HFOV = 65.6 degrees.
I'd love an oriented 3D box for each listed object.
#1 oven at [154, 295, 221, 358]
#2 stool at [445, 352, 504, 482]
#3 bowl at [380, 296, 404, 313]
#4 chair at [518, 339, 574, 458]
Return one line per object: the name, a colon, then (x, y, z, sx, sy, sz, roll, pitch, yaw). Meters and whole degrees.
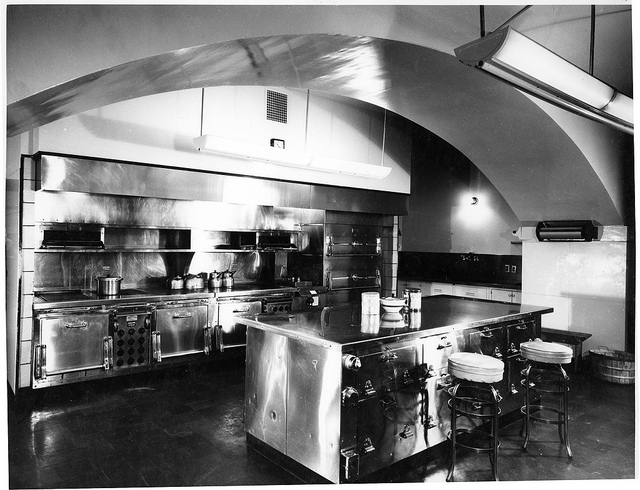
oven: (-1.789, 1.029, 6.348, 0.773, 0.810, 0.574, -1, 3, -27)
stool: (1.375, 1.441, 4.446, 0.476, 0.985, 1.001, 4, 7, 20)
bowl: (0.681, 0.582, 4.741, 0.224, 0.163, 0.241, 1, 7, 0)
chair: (2.179, 1.447, 4.837, 0.628, 0.924, 0.631, 3, -4, -24)
